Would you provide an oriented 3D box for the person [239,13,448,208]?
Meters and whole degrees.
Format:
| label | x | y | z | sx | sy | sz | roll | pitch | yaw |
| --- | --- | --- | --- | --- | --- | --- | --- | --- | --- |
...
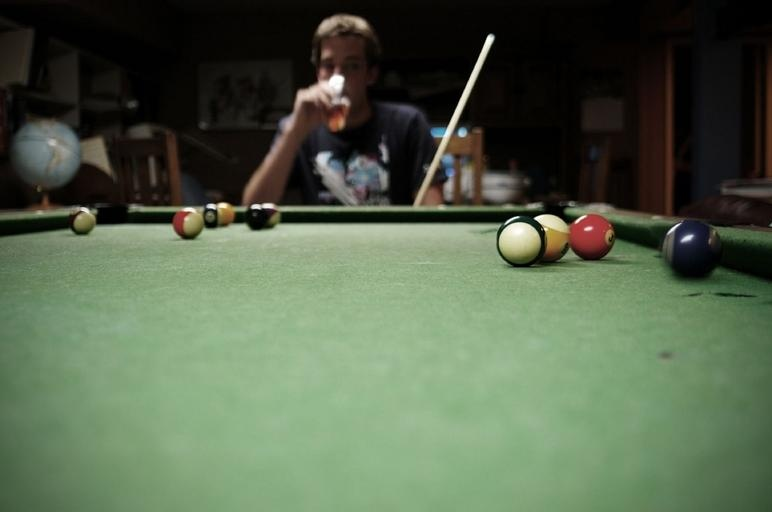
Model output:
| label | x | y | z | sx | sy | sz | roll | pitch | yaw |
| --- | --- | --- | --- | --- | --- | --- | --- | --- | --- |
| person | -0.189 | -0.740 | 4.087 | 0.837 | 1.850 | 0.732 | 0 | 3 | 7 |

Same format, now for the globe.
| label | x | y | z | sx | sy | sz | roll | pitch | yaw |
| --- | --- | --- | --- | --- | --- | --- | --- | --- | --- |
| globe | -2.124 | -0.560 | 4.140 | 0.409 | 0.588 | 0.410 | -1 | 27 | -27 |

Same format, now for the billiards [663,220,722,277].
| label | x | y | z | sx | sy | sz | roll | pitch | yaw |
| --- | --- | --- | --- | --- | --- | --- | --- | --- | --- |
| billiards | 0.685 | -0.024 | 1.541 | 0.128 | 0.119 | 0.125 | 4 | 8 | 4 |
